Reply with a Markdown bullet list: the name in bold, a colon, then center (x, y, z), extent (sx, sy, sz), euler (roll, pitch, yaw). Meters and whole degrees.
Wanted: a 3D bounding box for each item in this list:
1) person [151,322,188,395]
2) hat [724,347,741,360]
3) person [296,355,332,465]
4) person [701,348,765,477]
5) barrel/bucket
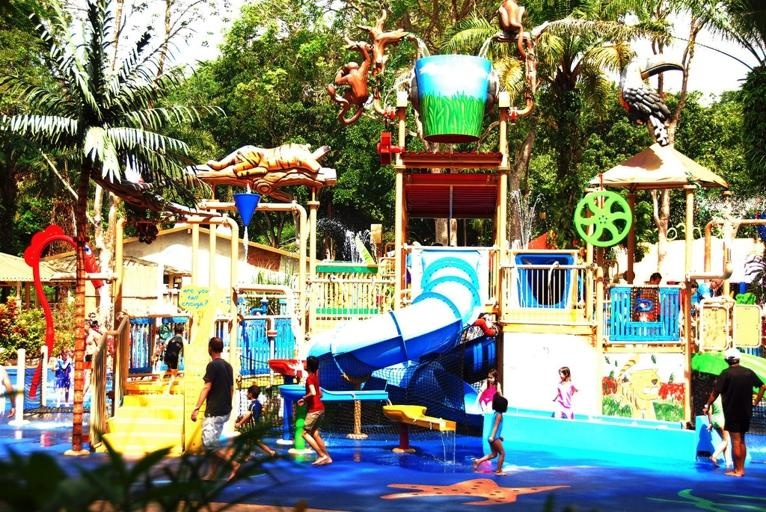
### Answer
- **person**: center (-5.424, 2.649, 29.717), extent (0.612, 1.731, 3.302), euler (0, -5, -10)
- **hat**: center (8.188, 2.323, 27.081), extent (0.337, 0.214, 0.373), euler (-3, 6, -9)
- **person**: center (-1.564, 3.597, 26.719), extent (0.663, 2.495, 0.776), euler (-1, -4, 6)
- **person**: center (8.183, 3.626, 26.848), extent (0.884, 2.906, 1.256), euler (-4, -6, 40)
- **barrel/bucket**: center (1.945, -4.372, 32.736), extent (1.773, 1.883, 2.209), euler (1, -7, -1)
